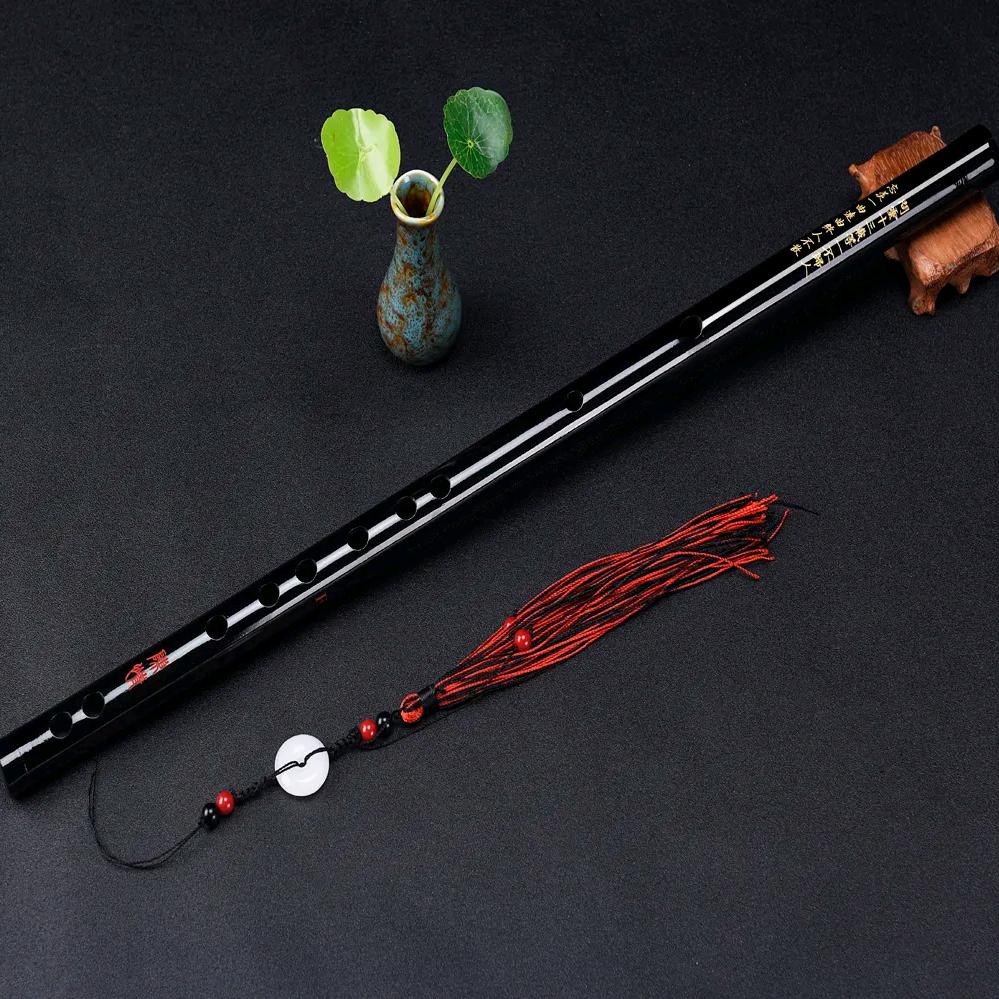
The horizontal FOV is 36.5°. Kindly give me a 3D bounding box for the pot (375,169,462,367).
[{"bbox_3d":[-0.128,-0.340,2.297,0.096,0.246,0.118,13,60,6],"label":"pot"}]
